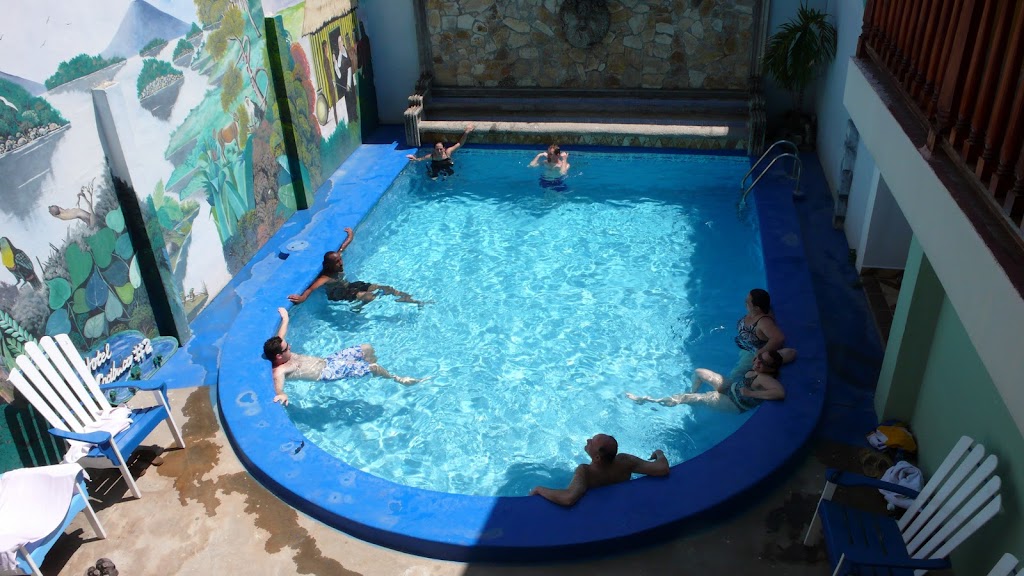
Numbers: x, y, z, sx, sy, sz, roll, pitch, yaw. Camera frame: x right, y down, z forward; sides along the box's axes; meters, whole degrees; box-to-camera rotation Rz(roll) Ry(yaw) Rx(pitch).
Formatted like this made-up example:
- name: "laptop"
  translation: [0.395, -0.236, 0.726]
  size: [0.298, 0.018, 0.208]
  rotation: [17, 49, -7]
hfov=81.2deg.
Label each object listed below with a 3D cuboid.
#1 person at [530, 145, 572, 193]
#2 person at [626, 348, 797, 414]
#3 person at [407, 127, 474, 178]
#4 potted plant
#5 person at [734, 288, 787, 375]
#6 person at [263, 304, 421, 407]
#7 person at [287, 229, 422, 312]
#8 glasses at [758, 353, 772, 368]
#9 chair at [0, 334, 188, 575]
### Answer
- name: "person"
  translation: [0.928, -2.835, 14.045]
  size: [0.836, 0.902, 1.065]
  rotation: [-2, 22, -7]
- name: "person"
  translation: [2.987, 1.416, 8.971]
  size: [2.296, 1.057, 0.822]
  rotation: [2, 18, 20]
- name: "person"
  translation: [-1.747, -3.402, 14.585]
  size: [1.164, 0.287, 1.303]
  rotation: [-36, 0, -10]
- name: "potted plant"
  translation: [6.798, -5.127, 14.325]
  size: [1.465, 3.246, 1.615]
  rotation: [8, 24, 18]
- name: "person"
  translation: [3.960, 0.713, 9.420]
  size: [0.496, 1.347, 0.813]
  rotation: [16, 27, 6]
- name: "person"
  translation: [-2.920, 1.003, 9.298]
  size: [1.451, 0.481, 1.476]
  rotation: [1, 32, -18]
- name: "person"
  translation: [-2.886, -0.106, 10.928]
  size: [1.317, 0.627, 1.444]
  rotation: [16, 40, -4]
- name: "glasses"
  translation: [3.689, 1.053, 8.670]
  size: [0.053, 0.165, 0.168]
  rotation: [3, 2, -18]
- name: "chair"
  translation: [-5.710, 1.662, 8.044]
  size: [1.605, 1.978, 1.017]
  rotation: [6, 23, 12]
